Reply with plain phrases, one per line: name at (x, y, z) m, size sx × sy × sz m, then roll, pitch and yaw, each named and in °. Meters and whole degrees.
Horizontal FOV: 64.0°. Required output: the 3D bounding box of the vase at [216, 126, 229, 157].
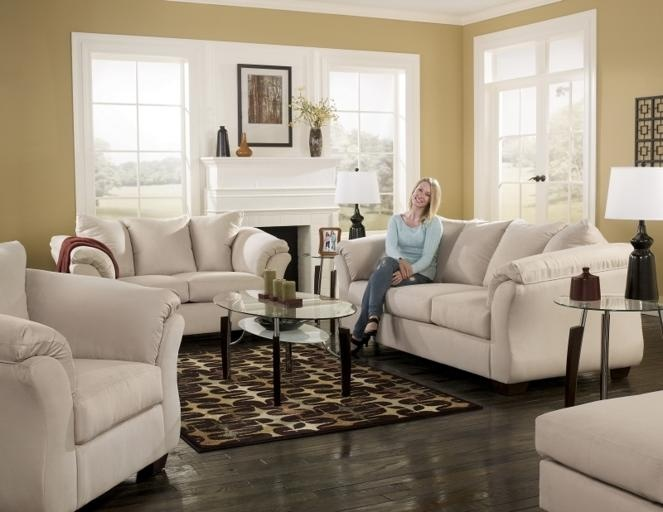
vase at (-1.301, -1.367, 6.355) m, size 0.161 × 0.407 × 0.318 m, roll -2°, pitch 5°, yaw -12°

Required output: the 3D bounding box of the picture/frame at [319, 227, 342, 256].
picture/frame at (-0.017, -0.140, 5.441) m, size 0.322 × 0.412 × 0.042 m, roll 1°, pitch 0°, yaw -16°

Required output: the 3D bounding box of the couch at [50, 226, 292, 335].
couch at (-1.197, 0.177, 4.039) m, size 1.053 × 0.557 × 0.565 m, roll 1°, pitch 0°, yaw -34°

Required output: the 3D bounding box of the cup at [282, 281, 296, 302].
cup at (-0.266, 0.227, 3.576) m, size 0.112 × 0.132 × 0.113 m, roll 0°, pitch -2°, yaw 0°

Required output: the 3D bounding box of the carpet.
carpet at (-0.217, 0.857, 3.773) m, size 1.727 × 0.038 × 1.938 m, roll -2°, pitch 5°, yaw -19°

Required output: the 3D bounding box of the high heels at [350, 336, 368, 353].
high heels at (0.239, 0.714, 4.281) m, size 0.168 × 0.117 × 0.089 m, roll 3°, pitch -1°, yaw -14°

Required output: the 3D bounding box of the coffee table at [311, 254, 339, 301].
coffee table at (-0.069, 0.231, 5.592) m, size 0.417 × 0.471 × 0.425 m, roll 0°, pitch 0°, yaw -10°

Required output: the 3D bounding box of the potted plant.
potted plant at (-0.286, -1.713, 7.026) m, size 0.756 × 0.960 × 0.757 m, roll 0°, pitch 2°, yaw -7°

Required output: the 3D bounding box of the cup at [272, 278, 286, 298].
cup at (-0.348, 0.224, 3.623) m, size 0.108 × 0.125 × 0.110 m, roll 0°, pitch 1°, yaw 0°
